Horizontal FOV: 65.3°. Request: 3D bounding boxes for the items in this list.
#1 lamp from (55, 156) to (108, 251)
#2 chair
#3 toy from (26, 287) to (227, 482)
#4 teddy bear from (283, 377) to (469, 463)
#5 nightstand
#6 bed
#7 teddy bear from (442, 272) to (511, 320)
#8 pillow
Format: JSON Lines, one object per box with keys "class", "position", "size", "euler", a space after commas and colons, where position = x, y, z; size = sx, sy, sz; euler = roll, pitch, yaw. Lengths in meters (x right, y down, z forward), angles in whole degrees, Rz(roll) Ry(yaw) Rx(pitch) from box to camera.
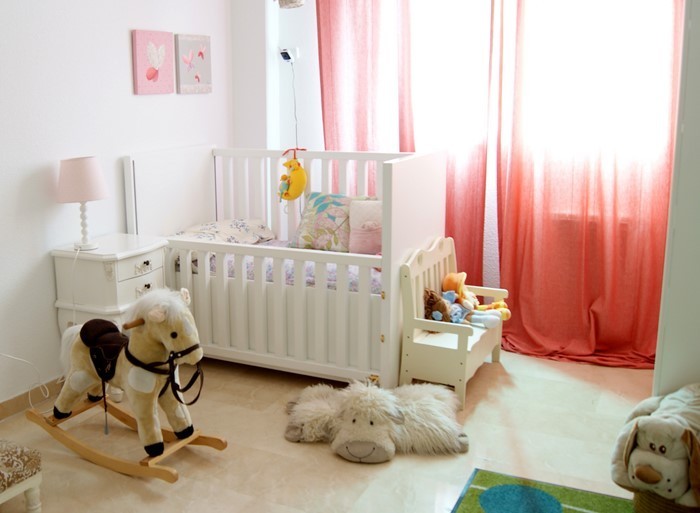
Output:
{"class": "lamp", "position": [-1.379, -0.272, 2.769], "size": [0.239, 0.462, 0.202], "euler": [7, 14, 31]}
{"class": "chair", "position": [0.611, 0.332, 3.052], "size": [0.391, 0.769, 0.780], "euler": [7, 16, 28]}
{"class": "toy", "position": [-1.048, 0.586, 2.431], "size": [0.619, 0.572, 0.266], "euler": [10, 13, 30]}
{"class": "teddy bear", "position": [0.115, 0.722, 2.574], "size": [0.866, 0.247, 0.524], "euler": [-1, 12, -2]}
{"class": "nightstand", "position": [-1.220, 0.058, 2.977], "size": [0.422, 0.645, 0.611], "euler": [7, 17, 24]}
{"class": "bed", "position": [-0.164, 0.208, 3.537], "size": [1.637, 1.388, 1.438], "euler": [5, 12, 25]}
{"class": "teddy bear", "position": [0.711, 0.225, 3.154], "size": [0.397, 0.231, 0.199], "euler": [13, 12, 15]}
{"class": "pillow", "position": [-0.755, -0.110, 3.414], "size": [0.329, 0.143, 0.449], "euler": [7, 11, 33]}
